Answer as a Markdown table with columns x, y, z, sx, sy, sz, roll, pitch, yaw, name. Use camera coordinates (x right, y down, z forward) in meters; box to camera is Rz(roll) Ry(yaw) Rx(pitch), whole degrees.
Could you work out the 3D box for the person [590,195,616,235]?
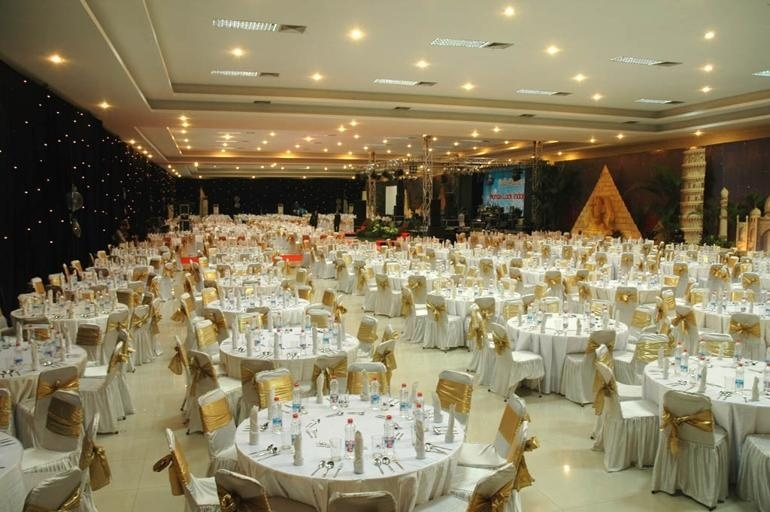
| x | y | z | sx | sy | sz | roll | pitch | yaw | name |
| --- | --- | --- | --- | --- | --- | --- | --- | --- | --- |
| 10.661 | -2.013 | 25.582 | 1.144 | 2.055 | 0.931 | 12 | 25 | 43 | person |
